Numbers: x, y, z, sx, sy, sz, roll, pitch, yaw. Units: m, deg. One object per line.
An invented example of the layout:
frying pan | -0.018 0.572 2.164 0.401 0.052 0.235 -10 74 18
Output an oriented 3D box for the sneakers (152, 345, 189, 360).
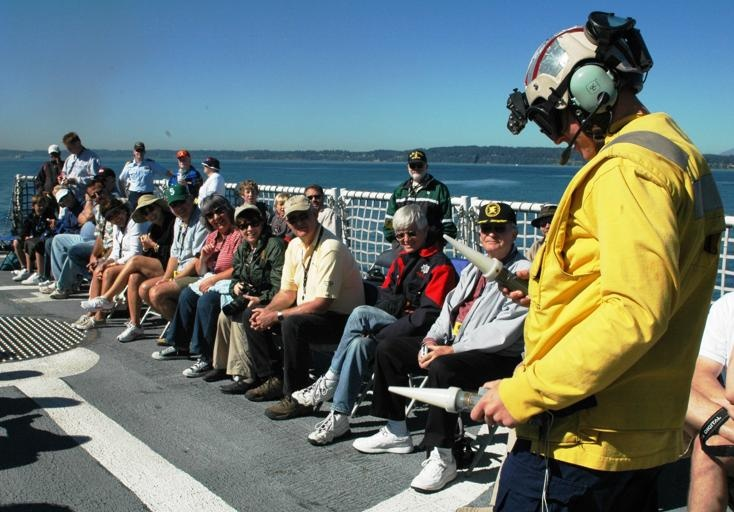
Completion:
sneakers | -2.345 1.164 7.020 0.473 0.175 0.169 8 -2 -19

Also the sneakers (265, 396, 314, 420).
sneakers | -0.732 1.411 5.376 0.435 0.185 0.174 5 -6 -16

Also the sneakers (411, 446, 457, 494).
sneakers | 0.504 1.596 4.328 0.180 0.213 0.496 0 0 40

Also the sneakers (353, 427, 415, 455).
sneakers | 0.137 1.539 4.871 0.509 0.221 0.196 2 -9 0

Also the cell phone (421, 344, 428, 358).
cell phone | 0.459 0.763 4.679 0.027 0.086 0.046 6 0 -33

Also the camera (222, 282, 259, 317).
camera | -1.350 0.453 6.070 0.363 0.334 0.218 -44 1 -26

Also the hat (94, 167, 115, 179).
hat | -4.758 -1.532 10.574 0.300 0.202 0.392 -3 15 -29

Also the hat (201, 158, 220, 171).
hat | -3.183 -1.905 12.006 0.330 0.149 0.348 23 4 -41

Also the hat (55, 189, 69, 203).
hat | -5.728 -1.140 10.919 0.222 0.260 0.457 -4 11 -27

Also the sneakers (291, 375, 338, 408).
sneakers | -0.488 1.252 5.430 0.550 0.225 0.191 -6 7 -9

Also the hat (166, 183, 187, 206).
hat | -2.484 -0.802 7.574 0.322 0.227 0.506 -10 6 -5

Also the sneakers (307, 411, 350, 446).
sneakers | -0.329 1.448 4.964 0.394 0.231 0.147 -11 10 -31
